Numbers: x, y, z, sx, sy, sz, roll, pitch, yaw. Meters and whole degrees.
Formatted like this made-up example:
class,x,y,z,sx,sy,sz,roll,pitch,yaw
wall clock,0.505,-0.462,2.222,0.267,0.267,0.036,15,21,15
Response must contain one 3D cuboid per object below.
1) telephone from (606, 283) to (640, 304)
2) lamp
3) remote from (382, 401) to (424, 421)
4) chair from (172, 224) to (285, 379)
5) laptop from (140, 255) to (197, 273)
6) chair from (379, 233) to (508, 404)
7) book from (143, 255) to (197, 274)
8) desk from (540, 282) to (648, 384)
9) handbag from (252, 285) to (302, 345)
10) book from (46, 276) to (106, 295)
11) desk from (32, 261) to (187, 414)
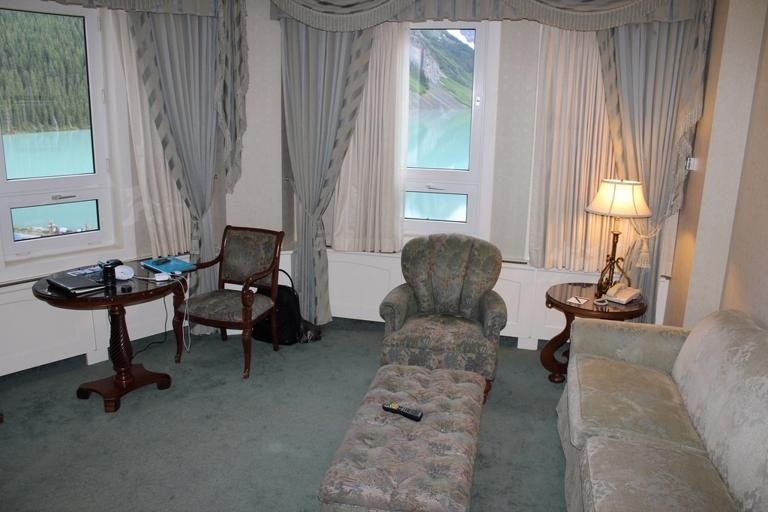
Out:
class,x,y,z,sx,sy,sz,roll,pitch,yaw
telephone,2.131,0.342,5.008,0.201,0.062,0.190,-26,25,-34
lamp,2.173,-0.184,5.215,0.615,1.041,0.503,-11,19,-42
remote,0.139,1.057,3.907,0.218,0.055,0.116,11,6,18
chair,-1.519,0.390,5.494,0.832,1.268,0.778,6,14,17
laptop,-1.939,0.082,4.968,0.249,0.054,0.254,15,13,34
chair,0.550,0.492,5.392,1.248,1.490,1.317,3,7,13
book,-1.919,0.085,4.969,0.252,0.053,0.257,17,15,42
desk,1.919,0.566,5.237,0.867,0.839,0.939,-3,12,-13
handbag,-1.102,0.599,5.650,0.568,0.725,0.366,-1,1,-1
book,-2.566,0.240,4.573,0.510,0.074,0.267,4,13,6
desk,-2.364,0.704,5.047,1.189,1.102,1.213,9,14,31
